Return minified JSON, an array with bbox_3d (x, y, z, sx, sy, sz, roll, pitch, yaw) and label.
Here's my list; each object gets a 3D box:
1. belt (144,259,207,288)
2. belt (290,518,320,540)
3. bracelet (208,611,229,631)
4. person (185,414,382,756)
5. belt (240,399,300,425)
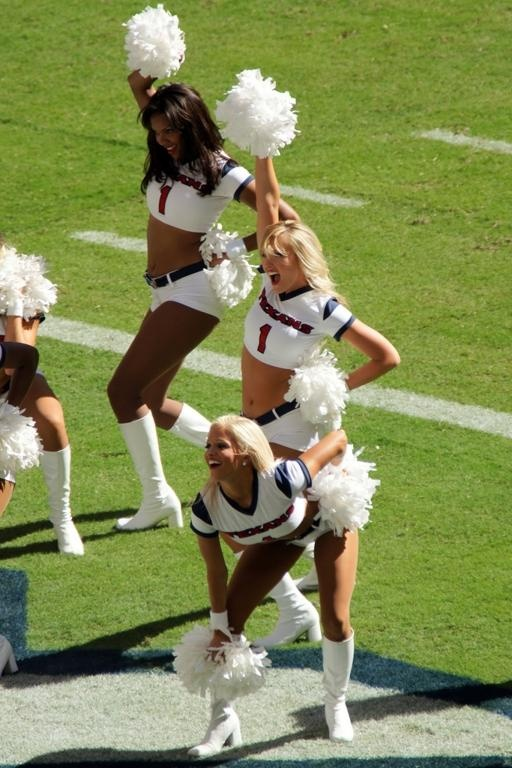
[{"bbox_3d":[-0.332,-0.459,3.861,0.165,0.041,0.137,-19,8,-17],"label":"belt"},{"bbox_3d":[0.159,0.477,2.976,0.094,0.032,0.067,-33,0,16],"label":"belt"},{"bbox_3d":[-0.125,0.757,2.940,0.070,0.059,0.067,0,6,-15],"label":"bracelet"},{"bbox_3d":[-0.029,0.636,3.039,0.482,1.119,0.652,27,26,21],"label":"person"},{"bbox_3d":[0.067,0.105,3.263,0.125,0.024,0.117,-18,0,-28],"label":"belt"}]
